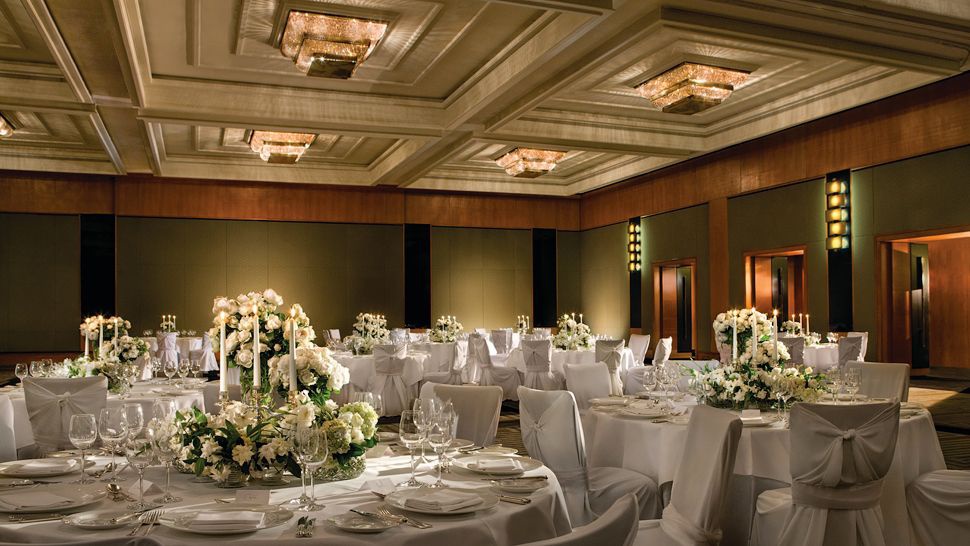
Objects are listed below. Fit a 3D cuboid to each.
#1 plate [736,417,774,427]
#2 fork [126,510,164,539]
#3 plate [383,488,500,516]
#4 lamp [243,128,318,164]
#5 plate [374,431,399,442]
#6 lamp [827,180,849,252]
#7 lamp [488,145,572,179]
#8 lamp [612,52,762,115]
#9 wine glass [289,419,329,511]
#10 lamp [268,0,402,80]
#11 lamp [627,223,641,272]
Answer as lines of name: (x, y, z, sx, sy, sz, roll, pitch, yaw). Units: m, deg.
plate: (2.357, 1.295, 5.720, 0.206, 0.039, 0.203, -1, -9, 3)
fork: (-2.280, 1.680, 4.415, 0.072, 0.034, 0.234, -1, 10, -3)
plate: (-0.306, 1.601, 4.650, 0.804, 0.104, 0.272, -1, 10, -5)
lamp: (-4.262, -2.538, 13.427, 0.989, 0.349, 1.010, 5, -17, -26)
plate: (-0.841, 1.407, 5.667, 0.175, 0.041, 0.169, 2, -1, -10)
lamp: (6.969, -1.166, 12.906, 0.525, 1.423, 0.243, 9, 15, 36)
lamp: (0.879, -2.410, 14.400, 0.922, 0.286, 0.895, 5, -16, -24)
lamp: (3.506, -3.186, 11.087, 1.840, 0.869, 0.766, 2, 11, 10)
wine glass: (-1.261, 1.316, 4.671, 0.237, 0.626, 0.370, -5, 13, -20)
lamp: (-2.205, -3.333, 9.455, 1.065, 0.336, 0.959, 10, -38, -25)
lamp: (4.028, -0.739, 17.498, 0.438, 1.420, 0.244, 4, 13, 20)
